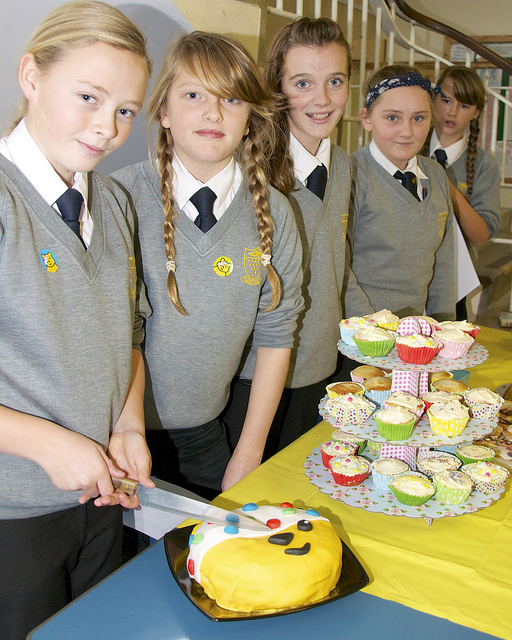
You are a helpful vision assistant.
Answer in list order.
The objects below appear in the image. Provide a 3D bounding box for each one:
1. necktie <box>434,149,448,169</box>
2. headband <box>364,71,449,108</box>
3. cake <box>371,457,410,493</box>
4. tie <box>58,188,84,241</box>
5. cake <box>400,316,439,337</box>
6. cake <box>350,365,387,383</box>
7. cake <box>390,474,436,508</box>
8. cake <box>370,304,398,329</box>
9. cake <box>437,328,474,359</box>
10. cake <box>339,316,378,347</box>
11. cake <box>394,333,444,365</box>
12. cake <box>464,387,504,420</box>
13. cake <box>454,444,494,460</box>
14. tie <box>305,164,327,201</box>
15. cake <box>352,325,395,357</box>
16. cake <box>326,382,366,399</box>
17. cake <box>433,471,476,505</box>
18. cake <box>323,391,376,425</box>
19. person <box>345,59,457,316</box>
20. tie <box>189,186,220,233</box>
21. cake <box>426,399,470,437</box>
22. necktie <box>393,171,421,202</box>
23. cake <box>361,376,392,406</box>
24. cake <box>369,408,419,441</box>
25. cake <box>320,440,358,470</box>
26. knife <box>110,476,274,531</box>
[{"bbox_3d":[0.968,-0.868,2.956,0.043,0.081,0.072,-22,26,-26],"label":"necktie"},{"bbox_3d":[0.572,-0.925,2.220,0.279,0.113,0.169,-4,22,7],"label":"headband"},{"bbox_3d":[0.287,0.326,1.193,0.079,0.046,0.071,2,20,14],"label":"cake"},{"bbox_3d":[-0.351,-0.215,1.111,0.035,0.100,0.030,5,49,19],"label":"tie"},{"bbox_3d":[0.438,0.004,1.448,0.075,0.031,0.071,-4,17,-1],"label":"cake"},{"bbox_3d":[0.298,0.141,1.465,0.082,0.040,0.079,2,13,7],"label":"cake"},{"bbox_3d":[0.315,0.347,1.131,0.077,0.032,0.069,2,19,11],"label":"cake"},{"bbox_3d":[0.384,-0.014,1.684,0.066,0.034,0.060,19,29,-1],"label":"cake"},{"bbox_3d":[0.482,0.055,1.347,0.086,0.050,0.081,7,19,27],"label":"cake"},{"bbox_3d":[0.266,0.025,1.485,0.089,0.053,0.084,-1,10,3],"label":"cake"},{"bbox_3d":[0.373,0.065,1.293,0.091,0.044,0.081,4,11,0],"label":"cake"},{"bbox_3d":[0.533,0.194,1.313,0.089,0.049,0.079,-5,19,-9],"label":"cake"},{"bbox_3d":[0.499,0.304,1.285,0.065,0.018,0.065,4,9,39],"label":"cake"},{"bbox_3d":[0.201,-0.480,1.922,0.095,0.105,0.031,0,9,-22],"label":"tie"},{"bbox_3d":[0.282,0.048,1.360,0.092,0.053,0.078,-3,16,-7],"label":"cake"},{"bbox_3d":[0.222,0.168,1.374,0.053,0.020,0.047,-2,12,-10],"label":"cake"},{"bbox_3d":[0.402,0.345,1.142,0.073,0.039,0.065,-1,10,0],"label":"cake"},{"bbox_3d":[0.211,0.194,1.275,0.091,0.036,0.076,-7,15,-26],"label":"cake"},{"bbox_3d":[0.596,-0.501,2.349,0.633,1.075,0.335,-24,28,-31],"label":"person"},{"bbox_3d":[-0.139,-0.301,1.501,0.073,0.110,0.061,-10,23,-2],"label":"tie"},{"bbox_3d":[0.412,0.211,1.205,0.085,0.048,0.077,-9,20,-16],"label":"cake"},{"bbox_3d":[0.615,-0.557,2.294,0.102,0.089,0.029,-27,5,-42],"label":"necktie"},{"bbox_3d":[0.298,0.174,1.381,0.074,0.048,0.068,0,2,3],"label":"cake"},{"bbox_3d":[0.296,0.216,1.216,0.085,0.041,0.077,1,8,7],"label":"cake"},{"bbox_3d":[0.179,0.297,1.260,0.065,0.036,0.065,2,18,10],"label":"cake"},{"bbox_3d":[-0.150,0.341,1.041,0.390,0.030,0.045,6,38,28],"label":"knife"}]
